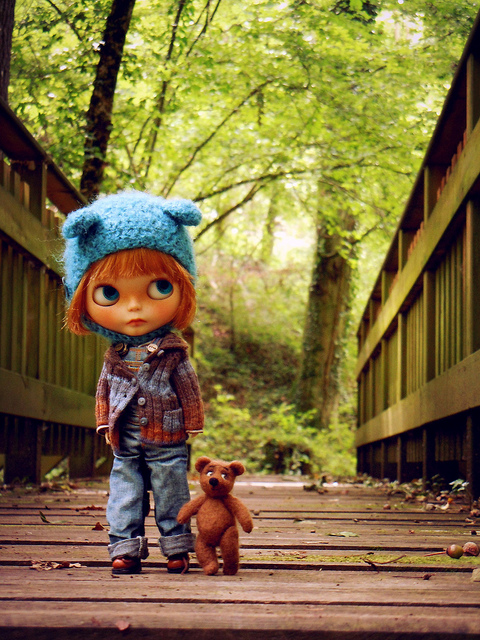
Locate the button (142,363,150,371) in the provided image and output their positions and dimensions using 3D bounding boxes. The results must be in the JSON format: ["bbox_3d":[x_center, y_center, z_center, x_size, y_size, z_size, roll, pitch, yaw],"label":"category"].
[{"bbox_3d":[-0.288,0.145,2.598,0.022,0.028,0.011,5,-8,-7],"label":"button"}]

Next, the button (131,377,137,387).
[{"bbox_3d":[-0.323,0.187,2.577,0.019,0.021,0.017,-1,-7,2],"label":"button"}]

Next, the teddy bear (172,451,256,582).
[{"bbox_3d":[-0.074,0.544,2.369,0.236,0.315,0.493,5,-8,-2],"label":"teddy bear"}]

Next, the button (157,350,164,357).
[{"bbox_3d":[-0.245,0.103,2.621,0.023,0.022,0.012,7,-8,-19],"label":"button"}]

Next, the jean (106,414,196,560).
[{"bbox_3d":[-0.292,0.480,2.523,0.278,0.483,0.157,3,-20,-25],"label":"jean"}]

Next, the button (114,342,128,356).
[{"bbox_3d":[-0.372,0.091,2.677,0.033,0.041,0.016,-20,-38,7],"label":"button"}]

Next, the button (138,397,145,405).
[{"bbox_3d":[-0.295,0.243,2.542,0.022,0.019,0.008,5,-6,2],"label":"button"}]
